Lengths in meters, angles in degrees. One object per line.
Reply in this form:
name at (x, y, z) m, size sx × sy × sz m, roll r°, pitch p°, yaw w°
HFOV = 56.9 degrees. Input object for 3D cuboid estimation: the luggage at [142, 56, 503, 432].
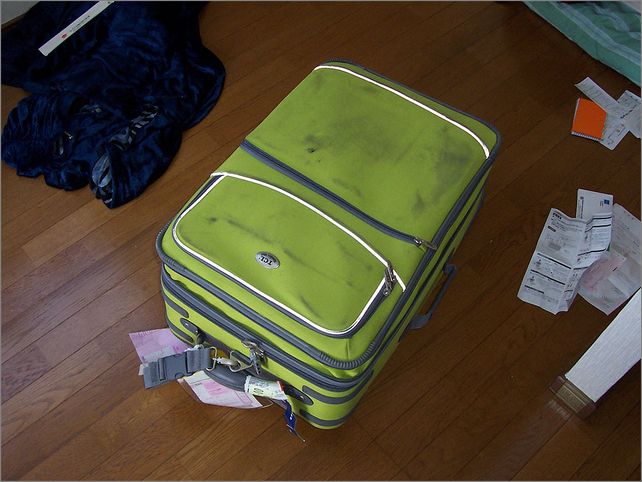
luggage at (0.014, 0.001, 2.113) m, size 0.986 × 0.457 × 1.440 m, roll 19°, pitch 61°, yaw 17°
